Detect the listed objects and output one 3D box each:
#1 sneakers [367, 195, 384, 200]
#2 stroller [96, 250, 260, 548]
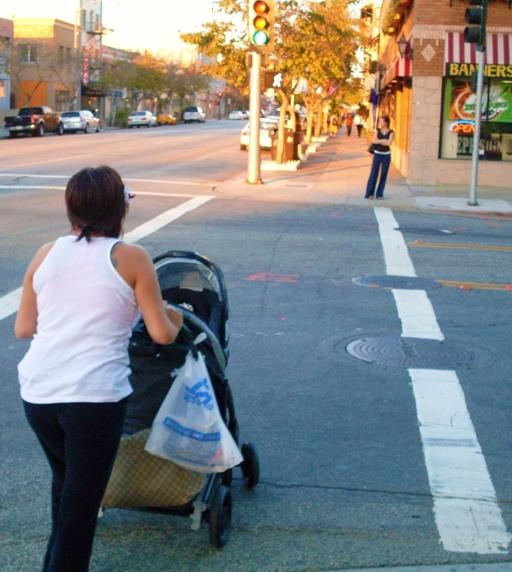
[{"bbox_3d":[3.431,-2.538,17.172,0.489,0.103,0.155,-1,2,-42],"label":"sneakers"},{"bbox_3d":[-0.396,0.457,2.670,0.768,1.111,1.127,3,8,6],"label":"stroller"}]
